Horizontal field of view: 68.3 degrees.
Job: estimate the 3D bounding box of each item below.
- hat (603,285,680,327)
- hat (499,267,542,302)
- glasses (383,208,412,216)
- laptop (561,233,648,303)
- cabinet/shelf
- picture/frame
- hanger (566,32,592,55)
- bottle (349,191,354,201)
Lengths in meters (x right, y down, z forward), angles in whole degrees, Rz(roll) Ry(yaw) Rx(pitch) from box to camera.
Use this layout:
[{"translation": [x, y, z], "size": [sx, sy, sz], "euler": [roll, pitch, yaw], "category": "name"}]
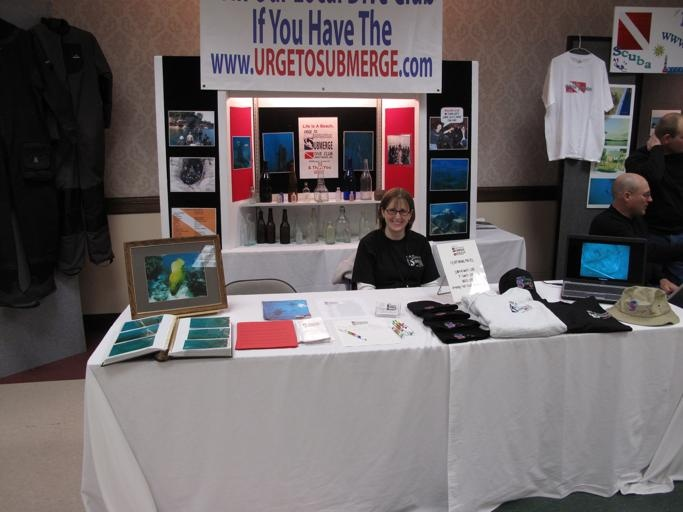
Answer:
[{"translation": [1.502, 0.259, 2.508], "size": [0.243, 0.120, 0.210], "euler": [-5, 11, -41], "category": "hat"}, {"translation": [0.973, 0.162, 2.724], "size": [0.200, 0.194, 0.336], "euler": [-3, 3, -12], "category": "hat"}, {"translation": [0.357, -0.280, 3.187], "size": [0.143, 0.050, 0.041], "euler": [-2, 13, 1], "category": "glasses"}, {"translation": [1.398, 0.041, 2.662], "size": [0.448, 0.319, 0.403], "euler": [5, 2, 42], "category": "laptop"}, {"translation": [-0.135, -0.865, 4.503], "size": [2.456, 1.640, 0.707], "euler": [-4, 24, -5], "category": "cabinet/shelf"}, {"translation": [-0.823, 0.116, 2.510], "size": [0.420, 0.406, 0.048], "euler": [-7, 1, -17], "category": "picture/frame"}, {"translation": [2.197, -1.959, 4.681], "size": [0.180, 0.193, 0.045], "euler": [8, 6, 15], "category": "hanger"}, {"translation": [0.098, -0.537, 4.545], "size": [0.052, 0.103, 0.056], "euler": [1, 0, 0], "category": "bottle"}]
